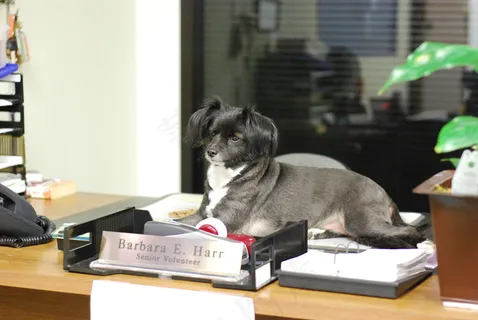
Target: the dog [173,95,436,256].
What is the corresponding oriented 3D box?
[{"bbox_3d":[0.231,0.066,1.755,1.095,0.454,0.317,5,4,-17],"label":"dog"}]
